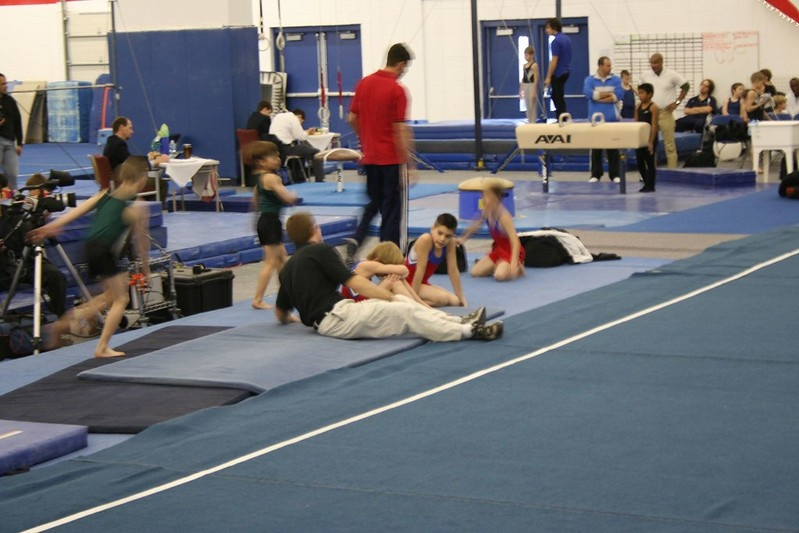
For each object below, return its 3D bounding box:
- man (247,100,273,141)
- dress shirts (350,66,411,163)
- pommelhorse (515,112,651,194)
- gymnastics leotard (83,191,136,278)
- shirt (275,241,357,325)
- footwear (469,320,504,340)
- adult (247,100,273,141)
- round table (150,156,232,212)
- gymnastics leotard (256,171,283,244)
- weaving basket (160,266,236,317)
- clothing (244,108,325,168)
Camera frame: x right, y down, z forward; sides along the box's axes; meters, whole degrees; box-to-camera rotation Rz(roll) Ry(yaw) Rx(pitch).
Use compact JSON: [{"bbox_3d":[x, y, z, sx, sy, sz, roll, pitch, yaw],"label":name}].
[{"bbox_3d":[-2.413,-2.531,15.123,0.409,0.671,0.865,-3,9,-9],"label":"man"},{"bbox_3d":[-0.202,-1.482,8.703,0.657,0.931,0.219,5,12,31],"label":"dress shirts"},{"bbox_3d":[3.236,-1.941,15.170,2.288,1.077,0.631,1,3,27],"label":"pommelhorse"},{"bbox_3d":[-2.205,-0.228,6.645,0.360,0.647,0.338,-2,10,-4],"label":"gymnastics leotard"},{"bbox_3d":[-0.675,0.155,6.983,0.671,0.498,0.332,-19,1,39],"label":"shirt"},{"bbox_3d":[0.679,0.509,6.887,0.316,0.114,0.105,2,2,-1],"label":"footwear"},{"bbox_3d":[-2.410,-2.529,15.107,0.409,0.671,0.898,-3,9,-9],"label":"adult"},{"bbox_3d":[-3.257,-1.345,13.232,1.176,0.952,0.921,1,2,42],"label":"round table"},{"bbox_3d":[-1.177,-0.484,7.960,0.242,0.582,0.249,-2,10,-5],"label":"gymnastics leotard"},{"bbox_3d":[-1.906,0.254,8.589,0.553,0.395,0.236,-3,10,-11],"label":"weaving basket"},{"bbox_3d":[-1.906,-2.370,15.720,1.308,1.400,0.719,-19,32,-36],"label":"clothing"}]
